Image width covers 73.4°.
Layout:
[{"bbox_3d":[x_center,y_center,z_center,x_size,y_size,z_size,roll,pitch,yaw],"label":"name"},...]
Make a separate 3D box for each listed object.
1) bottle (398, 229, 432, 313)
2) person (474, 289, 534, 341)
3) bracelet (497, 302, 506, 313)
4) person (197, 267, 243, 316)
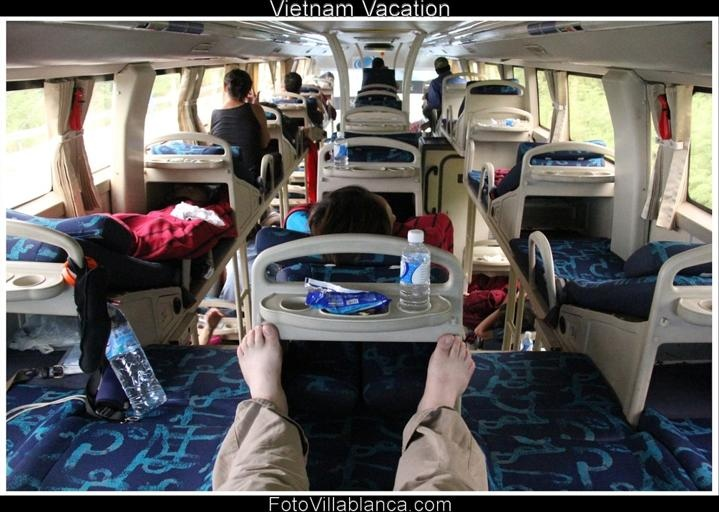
[{"bbox_3d":[0.232,0.050,2.014,0.137,0.353,0.192,-2,18,6],"label":"bottle"},{"bbox_3d":[1.435,0.608,4.774,0.326,0.387,1.061,10,17,26],"label":"person"},{"bbox_3d":[1.519,0.549,5.144,0.109,0.085,0.081,1,-2,11],"label":"bracelet"},{"bbox_3d":[-1.574,0.430,5.673,0.487,0.432,0.712,6,39,-3],"label":"person"}]
